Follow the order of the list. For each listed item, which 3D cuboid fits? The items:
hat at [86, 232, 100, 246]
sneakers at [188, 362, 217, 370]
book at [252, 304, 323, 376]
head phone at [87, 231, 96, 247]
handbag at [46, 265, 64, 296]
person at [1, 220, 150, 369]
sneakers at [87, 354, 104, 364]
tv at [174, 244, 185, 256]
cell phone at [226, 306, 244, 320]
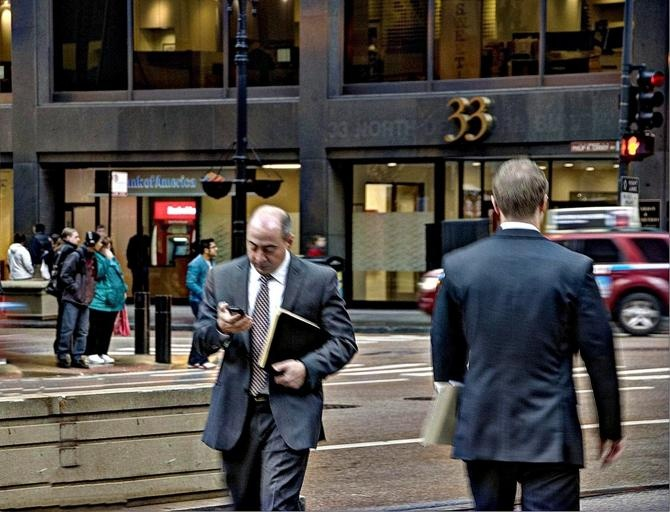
[{"bbox_3d":[-4.135,-0.279,21.959,0.228,0.238,0.275,1,-4,1],"label":"hat"},{"bbox_3d":[-2.196,1.838,21.605,0.462,0.183,0.151,-3,7,12],"label":"sneakers"},{"bbox_3d":[-0.460,0.865,13.175,0.664,0.639,0.157,31,5,-15],"label":"book"},{"bbox_3d":[-4.112,-0.274,21.914,0.214,0.233,0.269,-3,-2,-11],"label":"head phone"},{"bbox_3d":[-4.670,0.420,21.613,0.224,0.536,0.827,-2,2,-12],"label":"handbag"},{"bbox_3d":[-4.175,0.708,21.745,1.089,2.316,0.884,-3,2,-30],"label":"person"},{"bbox_3d":[-4.064,1.752,21.978,0.316,0.124,0.113,7,8,20],"label":"sneakers"},{"bbox_3d":[-3.991,-0.127,33.600,0.315,0.271,0.090,-1,2,3],"label":"tv"},{"bbox_3d":[-0.982,0.563,13.035,0.162,0.113,0.121,0,2,27],"label":"cell phone"}]
